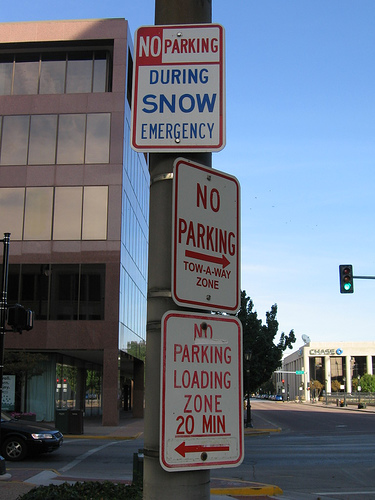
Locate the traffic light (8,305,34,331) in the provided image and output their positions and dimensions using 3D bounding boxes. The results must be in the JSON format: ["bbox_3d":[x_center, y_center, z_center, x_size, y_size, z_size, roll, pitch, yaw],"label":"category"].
[{"bbox_3d":[-3.795,1.513,13.217,0.488,0.600,0.559,-2,-2,3],"label":"traffic light"}]

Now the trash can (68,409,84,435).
[{"bbox_3d":[-4.724,7.273,24.872,0.668,1.009,0.905,2,-13,-10],"label":"trash can"}]

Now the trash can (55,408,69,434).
[{"bbox_3d":[-5.249,7.172,24.537,0.581,0.955,0.455,3,-12,-11],"label":"trash can"}]

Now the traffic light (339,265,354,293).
[{"bbox_3d":[6.308,1.112,23.390,0.469,1.134,0.504,-4,-13,18],"label":"traffic light"}]

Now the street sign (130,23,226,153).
[{"bbox_3d":[-0.042,-0.796,2.855,0.462,0.817,0.058,0,-26,2],"label":"street sign"}]

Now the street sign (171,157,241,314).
[{"bbox_3d":[0.067,-0.036,2.598,0.481,0.923,0.070,13,-21,-37],"label":"street sign"}]
